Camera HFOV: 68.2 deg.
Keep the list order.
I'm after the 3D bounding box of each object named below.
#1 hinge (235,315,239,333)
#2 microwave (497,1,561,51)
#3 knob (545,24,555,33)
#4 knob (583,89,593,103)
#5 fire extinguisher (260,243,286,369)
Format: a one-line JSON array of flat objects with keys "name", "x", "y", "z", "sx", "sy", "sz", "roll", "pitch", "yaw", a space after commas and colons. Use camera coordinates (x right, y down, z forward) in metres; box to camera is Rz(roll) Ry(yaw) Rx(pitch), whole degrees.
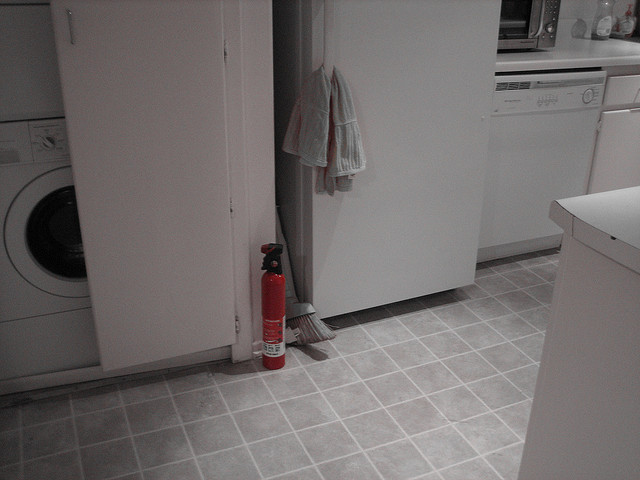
[{"name": "hinge", "x": -0.344, "y": 0.350, "z": 1.955, "sx": 0.018, "sy": 0.079, "sz": 0.010, "roll": -7, "pitch": 25, "yaw": -16}, {"name": "microwave", "x": 1.101, "y": -1.142, "z": 2.514, "sx": 0.308, "sy": 0.310, "sz": 0.219, "roll": -6, "pitch": 25, "yaw": -14}, {"name": "knob", "x": 1.254, "y": -1.146, "z": 2.576, "sx": 0.059, "sy": 0.041, "sz": 0.011, "roll": -9, "pitch": 26, "yaw": -20}, {"name": "knob", "x": 1.442, "y": -0.766, "z": 2.537, "sx": 0.060, "sy": 0.064, "sz": 0.018, "roll": -5, "pitch": 17, "yaw": -41}, {"name": "fire extinguisher", "x": -0.194, "y": 0.278, "z": 1.918, "sx": 0.100, "sy": 0.524, "sz": 0.109, "roll": -3, "pitch": 24, "yaw": -8}]
